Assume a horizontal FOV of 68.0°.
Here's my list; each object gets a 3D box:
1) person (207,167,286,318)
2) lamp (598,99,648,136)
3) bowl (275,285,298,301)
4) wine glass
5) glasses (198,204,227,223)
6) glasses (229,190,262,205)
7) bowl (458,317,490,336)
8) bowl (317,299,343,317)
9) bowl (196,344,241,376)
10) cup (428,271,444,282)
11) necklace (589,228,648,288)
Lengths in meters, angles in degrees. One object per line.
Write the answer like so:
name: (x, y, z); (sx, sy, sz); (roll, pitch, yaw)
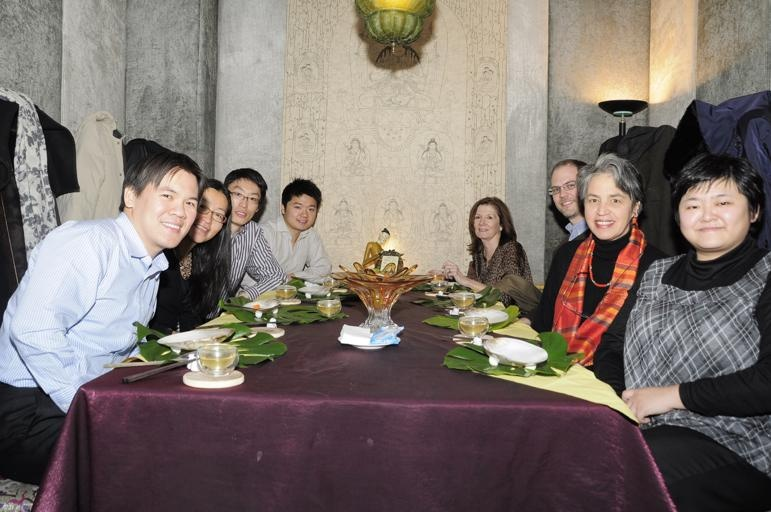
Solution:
person: (-1.060, -0.045, 4.074); (0.737, 1.007, 0.638); (2, -7, -3)
lamp: (2.238, -1.305, 5.453); (0.394, 0.320, 0.514); (3, 11, 15)
bowl: (-0.530, 0.204, 3.087); (0.088, 0.057, 0.086); (-1, -3, 0)
wine glass: (-0.020, 0.182, 2.605); (0.340, 0.197, 0.331); (1, -6, -3)
glasses: (-0.944, -0.225, 3.159); (0.095, 0.027, 0.093); (11, -11, 40)
glasses: (-0.998, -0.407, 4.102); (0.218, 0.089, 0.131); (-5, 12, -23)
bowl: (0.375, 0.294, 2.445); (0.103, 0.054, 0.092); (3, -3, -38)
bowl: (-0.270, 0.257, 2.800); (0.093, 0.054, 0.090); (1, -8, 0)
bowl: (-0.608, 0.399, 2.089); (0.144, 0.096, 0.152); (-14, -6, -2)
cup: (0.338, 0.134, 3.691); (0.108, 0.049, 0.105); (1, -8, 0)
necklace: (1.196, 0.025, 2.872); (0.247, 0.331, 0.093); (-13, -39, 43)
